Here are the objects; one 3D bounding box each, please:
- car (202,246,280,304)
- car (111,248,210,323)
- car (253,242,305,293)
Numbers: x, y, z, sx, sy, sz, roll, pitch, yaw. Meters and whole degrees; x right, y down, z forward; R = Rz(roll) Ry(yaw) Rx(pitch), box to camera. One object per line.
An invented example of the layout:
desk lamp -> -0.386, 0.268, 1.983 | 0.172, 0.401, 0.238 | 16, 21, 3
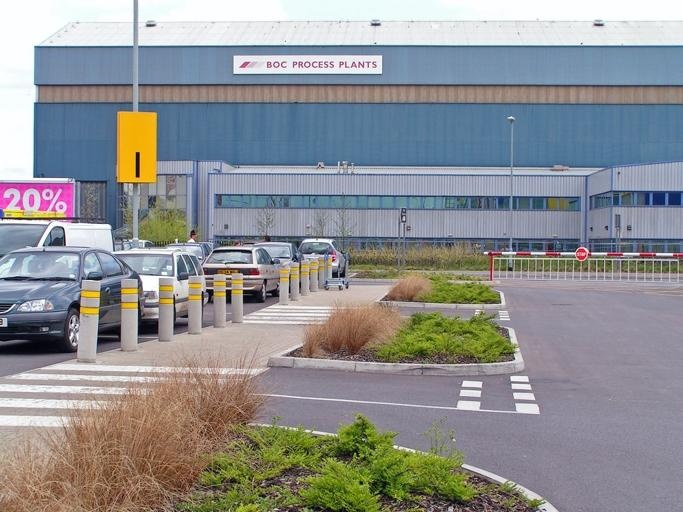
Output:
car -> -2.816, 0.394, 29.290 | 1.166, 1.050, 2.866 | 0, 4, 7
car -> -3.952, 0.575, 20.823 | 1.239, 1.146, 2.502 | 0, -2, 9
car -> -2.033, 0.379, 30.511 | 1.135, 1.044, 2.595 | -1, -9, 2
